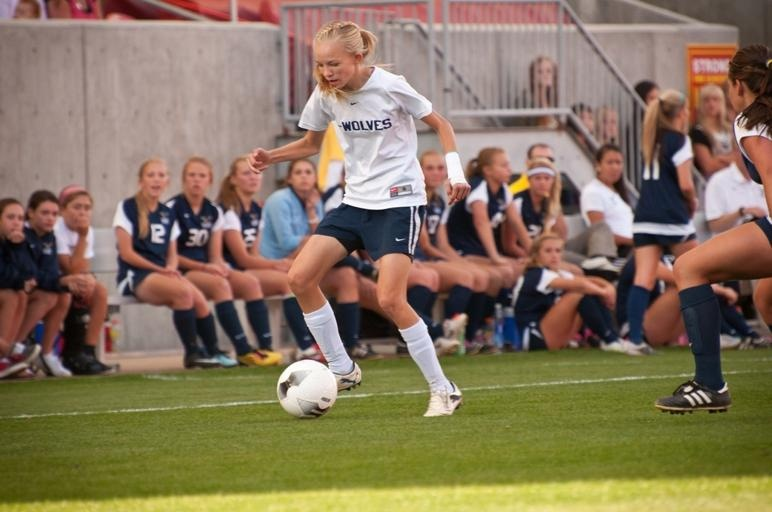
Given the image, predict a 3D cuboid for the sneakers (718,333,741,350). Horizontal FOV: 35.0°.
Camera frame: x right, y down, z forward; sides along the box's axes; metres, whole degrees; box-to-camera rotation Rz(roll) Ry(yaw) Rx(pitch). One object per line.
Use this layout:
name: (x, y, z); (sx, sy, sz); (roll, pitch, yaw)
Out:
sneakers: (3.398, 0.831, 12.005); (0.180, 0.122, 0.182); (-2, 6, 15)

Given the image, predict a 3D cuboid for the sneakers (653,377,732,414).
sneakers: (2.194, 0.988, 8.768); (0.607, 0.270, 0.213); (1, -9, 1)

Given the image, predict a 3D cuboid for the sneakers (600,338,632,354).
sneakers: (2.205, 0.856, 11.711); (0.188, 0.104, 0.389); (-5, 6, -13)

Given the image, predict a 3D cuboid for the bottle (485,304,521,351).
bottle: (1.175, 0.713, 12.234); (0.295, 0.423, 0.405); (-4, 6, -8)

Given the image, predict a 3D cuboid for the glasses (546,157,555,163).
glasses: (1.727, -0.980, 12.728); (0.076, 0.078, 0.026); (6, 15, 33)

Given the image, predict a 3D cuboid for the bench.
bench: (-1.924, 0.340, 12.455); (1.990, 1.398, 1.484); (-5, 6, -16)

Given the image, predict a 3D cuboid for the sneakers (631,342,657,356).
sneakers: (2.407, 0.860, 11.539); (0.265, 0.136, 0.191); (-2, 6, 10)
